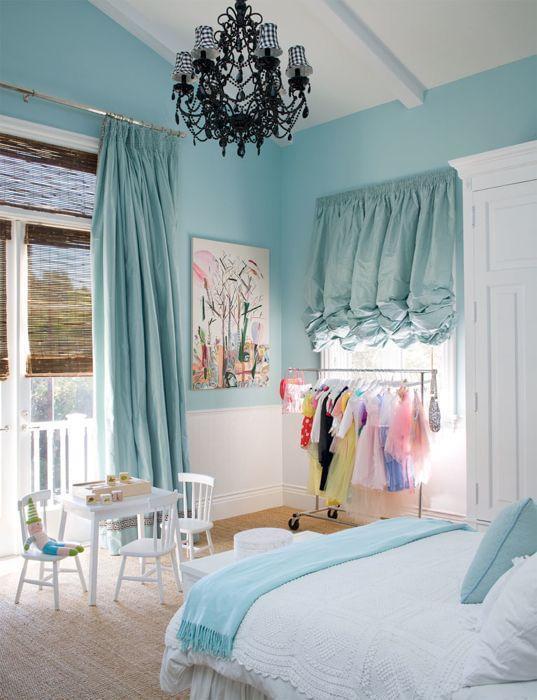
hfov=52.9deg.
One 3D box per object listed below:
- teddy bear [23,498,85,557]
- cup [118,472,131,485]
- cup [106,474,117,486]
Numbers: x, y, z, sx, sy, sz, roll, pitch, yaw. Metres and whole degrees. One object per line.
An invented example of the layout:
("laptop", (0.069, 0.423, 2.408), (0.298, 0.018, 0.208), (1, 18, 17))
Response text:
("teddy bear", (-1.070, 0.897, 2.844), (0.334, 0.368, 0.232), (0, -2, 12))
("cup", (-0.831, 0.736, 3.111), (0.070, 0.083, 0.074), (0, -5, 0))
("cup", (-0.880, 0.733, 3.048), (0.060, 0.063, 0.045), (1, 1, -27))
